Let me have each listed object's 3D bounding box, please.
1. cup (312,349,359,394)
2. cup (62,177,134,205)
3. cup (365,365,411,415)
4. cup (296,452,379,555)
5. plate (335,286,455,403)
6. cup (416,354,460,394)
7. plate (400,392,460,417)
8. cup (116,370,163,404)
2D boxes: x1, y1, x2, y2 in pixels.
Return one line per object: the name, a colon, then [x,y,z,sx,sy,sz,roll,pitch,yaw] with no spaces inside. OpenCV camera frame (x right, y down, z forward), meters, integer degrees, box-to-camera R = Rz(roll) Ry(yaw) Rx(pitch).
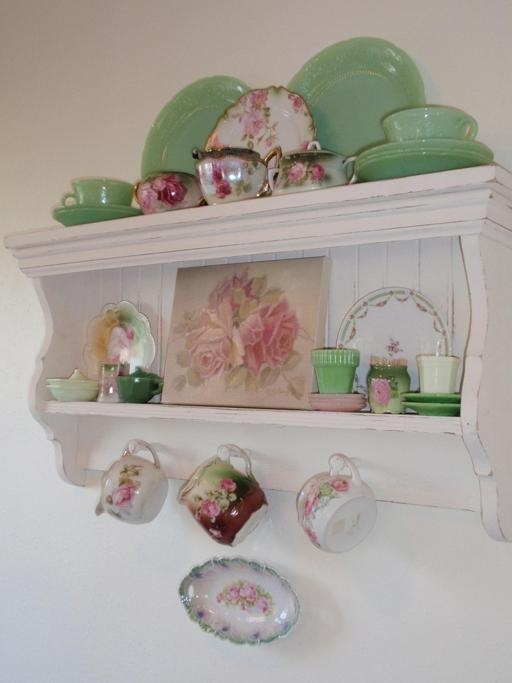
cup: [0.112,0.046,0.903,0.067,0.054,0.066,0,-12,0]
cup: [-0.299,-0.270,1.151,0.107,0.038,0.089,-2,-3,-4]
cup: [0.184,0.071,0.874,0.065,0.075,0.068,-1,-14,0]
cup: [0.134,0.261,0.988,0.121,0.152,0.088,1,6,-15]
plate: [0.186,-0.003,0.939,0.167,0.156,0.021,14,10,34]
cup: [0.244,0.043,0.843,0.061,0.042,0.052,2,-19,3]
plate: [0.229,0.081,0.822,0.084,0.033,0.045,5,7,30]
cup: [-0.209,0.079,1.113,0.056,0.050,0.073,-2,3,-34]
